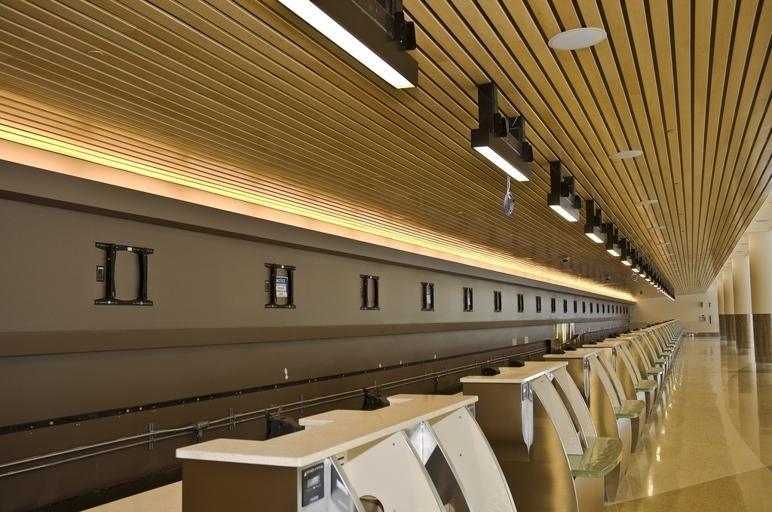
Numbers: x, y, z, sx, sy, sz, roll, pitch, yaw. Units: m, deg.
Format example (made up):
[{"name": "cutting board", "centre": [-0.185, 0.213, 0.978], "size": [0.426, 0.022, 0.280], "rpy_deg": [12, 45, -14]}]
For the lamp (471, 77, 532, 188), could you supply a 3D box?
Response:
[{"name": "lamp", "centre": [1.077, -1.123, 4.528], "size": [0.299, 0.671, 0.879], "rpy_deg": [-11, -12, 35]}]
